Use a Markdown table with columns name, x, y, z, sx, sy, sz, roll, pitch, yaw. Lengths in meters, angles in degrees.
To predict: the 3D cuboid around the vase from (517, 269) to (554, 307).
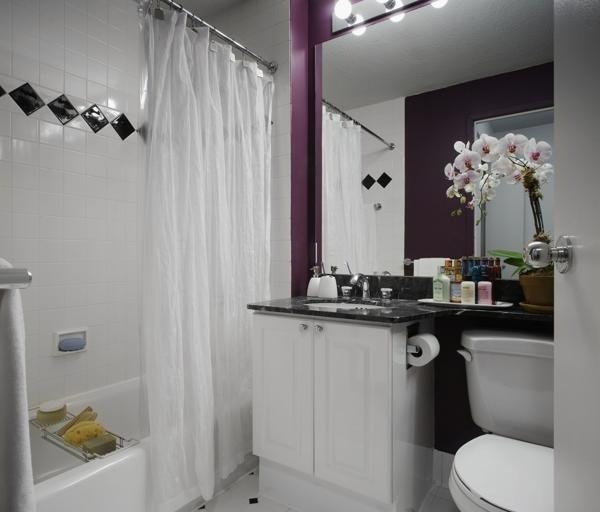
| name | x | y | z | sx | sy | sz | roll | pitch | yaw |
| --- | --- | --- | --- | --- | --- | --- | --- | --- | --- |
| vase | 0.951 | 0.123 | 1.912 | 0.107 | 0.110 | 0.128 | 1 | 1 | 8 |

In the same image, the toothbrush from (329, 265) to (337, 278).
| name | x | y | z | sx | sy | sz | roll | pitch | yaw |
| --- | --- | --- | --- | --- | --- | --- | --- | --- | --- |
| toothbrush | 0.193 | 0.092 | 2.738 | 0.049 | 0.071 | 0.044 | -10 | -23 | 37 |

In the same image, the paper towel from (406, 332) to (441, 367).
| name | x | y | z | sx | sy | sz | roll | pitch | yaw |
| --- | --- | --- | --- | --- | --- | --- | --- | --- | --- |
| paper towel | 0.516 | 0.387 | 2.054 | 0.123 | 0.135 | 0.151 | -14 | -5 | 31 |

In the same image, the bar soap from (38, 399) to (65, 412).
| name | x | y | z | sx | sy | sz | roll | pitch | yaw |
| --- | --- | --- | --- | --- | --- | --- | --- | --- | --- |
| bar soap | -1.141 | 0.681 | 2.171 | 0.070 | 0.020 | 0.077 | 2 | -2 | -15 |
